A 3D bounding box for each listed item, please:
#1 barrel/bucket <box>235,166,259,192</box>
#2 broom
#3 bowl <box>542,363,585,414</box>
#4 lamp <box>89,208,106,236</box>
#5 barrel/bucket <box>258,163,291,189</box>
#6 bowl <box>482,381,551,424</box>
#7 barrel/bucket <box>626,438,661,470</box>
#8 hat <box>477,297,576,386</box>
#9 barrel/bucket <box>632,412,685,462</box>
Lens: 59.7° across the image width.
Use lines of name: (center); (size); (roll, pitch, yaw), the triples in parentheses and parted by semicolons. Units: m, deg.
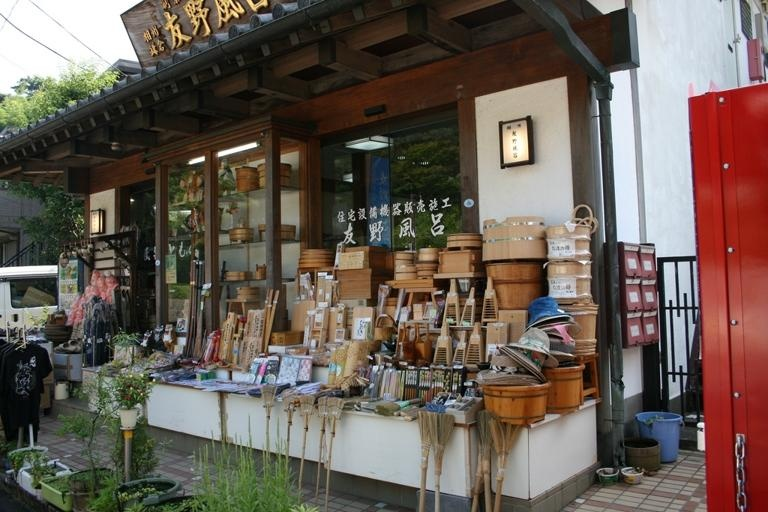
barrel/bucket: (-2.072, -1.169, 10.096); (0.357, 0.276, 0.369); (-2, -10, 0)
broom: (0.349, 2.056, 7.011); (2.137, 1.094, 0.496); (-4, -7, 26)
bowl: (1.938, 1.421, 7.136); (0.464, 0.370, 0.476); (1, -11, 0)
lamp: (-5.646, -0.675, 13.165); (0.161, 0.495, 0.484); (3, -9, -41)
barrel/bucket: (-1.631, -1.198, 9.960); (0.402, 0.257, 0.401); (-1, -4, 0)
bowl: (1.329, 1.457, 6.653); (0.474, 0.266, 0.474); (-4, -8, -1)
barrel/bucket: (3.093, 2.335, 7.931); (0.366, 0.240, 0.371); (-2, -1, 0)
hat: (1.608, 0.938, 7.118); (0.687, 0.424, 0.992); (6, -12, 7)
barrel/bucket: (3.427, 2.220, 8.341); (0.539, 0.493, 0.530); (-3, -4, 0)
